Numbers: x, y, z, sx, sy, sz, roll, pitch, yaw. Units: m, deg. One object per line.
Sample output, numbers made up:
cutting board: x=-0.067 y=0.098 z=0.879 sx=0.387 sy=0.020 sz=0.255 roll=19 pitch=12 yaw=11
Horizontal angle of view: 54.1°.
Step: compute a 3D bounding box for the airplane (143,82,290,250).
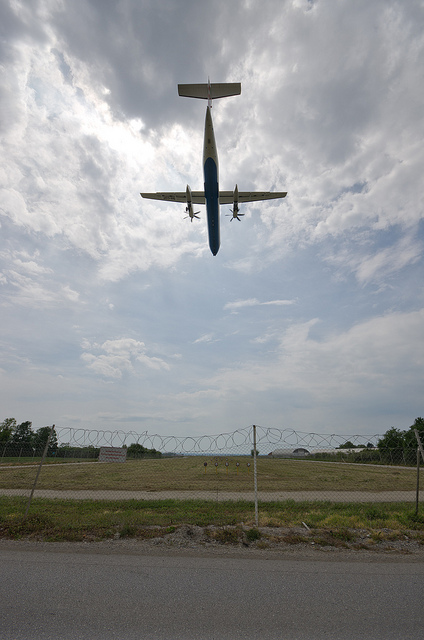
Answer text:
airplane: x=-0.062 y=-8.340 z=25.744 sx=7.844 sy=2.718 sz=10.873 roll=1 pitch=-39 yaw=4
